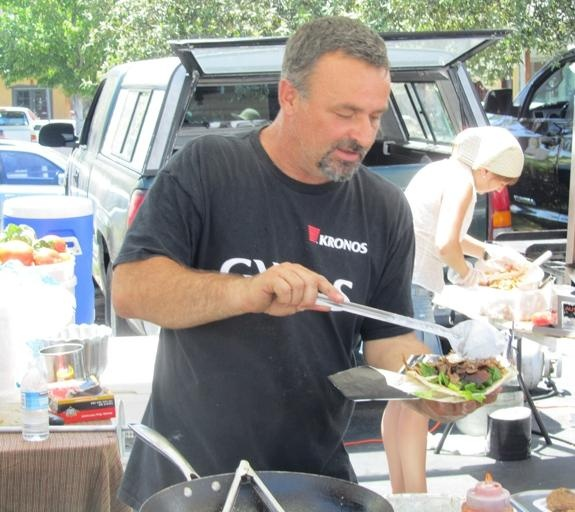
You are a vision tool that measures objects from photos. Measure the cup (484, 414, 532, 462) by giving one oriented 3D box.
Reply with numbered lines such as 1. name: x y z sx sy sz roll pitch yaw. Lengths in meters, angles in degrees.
1. cup: 1.452 1.187 4.213 0.259 0.309 0.299 -2 -2 4

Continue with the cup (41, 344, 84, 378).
1. cup: -0.893 0.425 2.487 0.123 0.111 0.139 -1 -1 -15

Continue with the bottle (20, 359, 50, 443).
1. bottle: -0.865 0.496 2.152 0.093 0.253 0.120 0 2 -23

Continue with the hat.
1. hat: 1.316 -0.660 4.111 0.384 0.273 0.302 28 16 20

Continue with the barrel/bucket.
1. barrel/bucket: -1.804 0.185 4.961 0.720 1.204 0.685 1 17 0
